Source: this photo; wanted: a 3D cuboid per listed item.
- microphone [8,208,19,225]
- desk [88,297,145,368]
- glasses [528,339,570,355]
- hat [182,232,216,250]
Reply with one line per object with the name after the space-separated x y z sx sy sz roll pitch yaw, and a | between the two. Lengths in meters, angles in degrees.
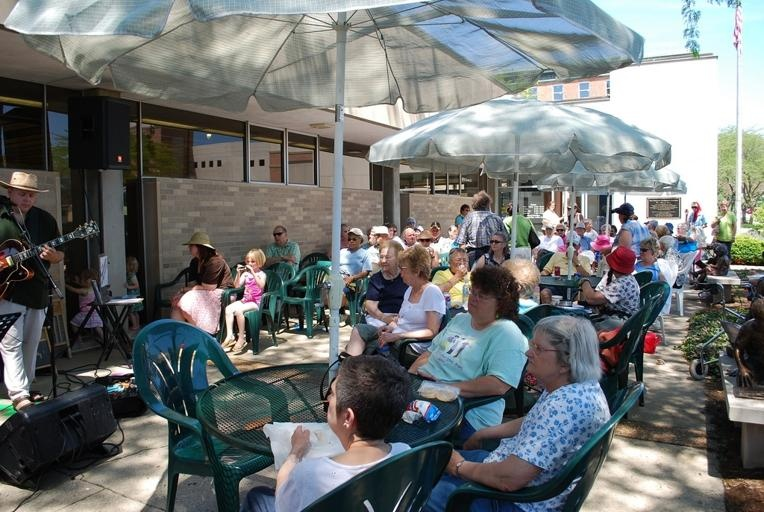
-3.616 -0.399 5.724 0.032 0.123 0.097 -6 14 -10 | microphone
-3.250 0.932 7.136 0.655 0.696 0.626 -1 -2 23 | desk
0.981 0.543 3.464 0.233 0.077 0.058 2 6 34 | glasses
-2.488 -0.210 8.026 0.349 0.215 0.419 6 -11 -3 | hat
